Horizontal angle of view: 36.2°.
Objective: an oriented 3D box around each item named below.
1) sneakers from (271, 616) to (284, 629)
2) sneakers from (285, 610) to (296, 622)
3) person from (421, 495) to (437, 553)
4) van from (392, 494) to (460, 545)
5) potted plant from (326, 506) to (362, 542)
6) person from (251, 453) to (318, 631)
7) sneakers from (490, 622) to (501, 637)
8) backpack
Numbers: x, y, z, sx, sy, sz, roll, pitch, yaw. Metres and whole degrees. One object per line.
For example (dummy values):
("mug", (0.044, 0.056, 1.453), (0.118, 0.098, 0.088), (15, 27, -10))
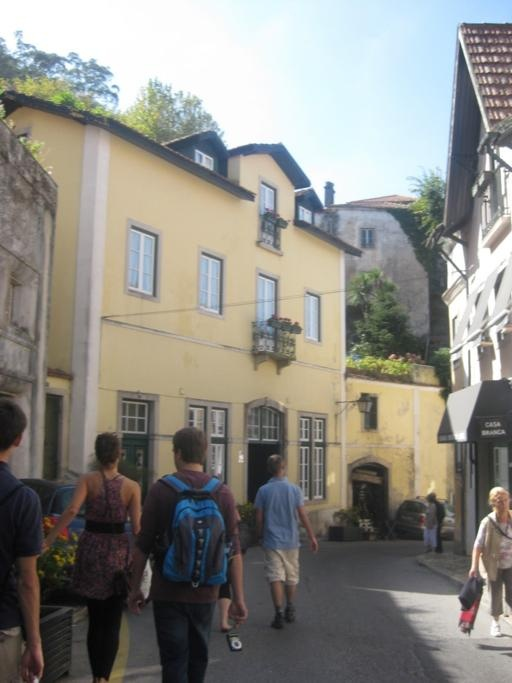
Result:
("sneakers", (0.217, 2.880, 8.015), (0.064, 0.125, 0.176), (7, -12, -6))
("sneakers", (0.357, 2.950, 8.358), (0.076, 0.135, 0.135), (2, -27, -1))
("person", (4.433, 4.651, 19.937), (0.329, 1.437, 1.147), (-2, -10, 13))
("van", (5.389, 6.275, 26.991), (1.433, 1.382, 2.563), (-4, -5, 38))
("potted plant", (2.782, 5.886, 24.763), (0.688, 1.325, 1.290), (-17, -25, 35))
("person", (0.327, 2.185, 8.766), (0.640, 1.799, 1.448), (0, -10, 2))
("sneakers", (2.481, 3.005, 8.135), (0.086, 0.129, 0.276), (2, -19, 15))
("backpack", (-0.315, 0.918, 3.696), (0.373, 0.636, 0.337), (6, -19, -20))
